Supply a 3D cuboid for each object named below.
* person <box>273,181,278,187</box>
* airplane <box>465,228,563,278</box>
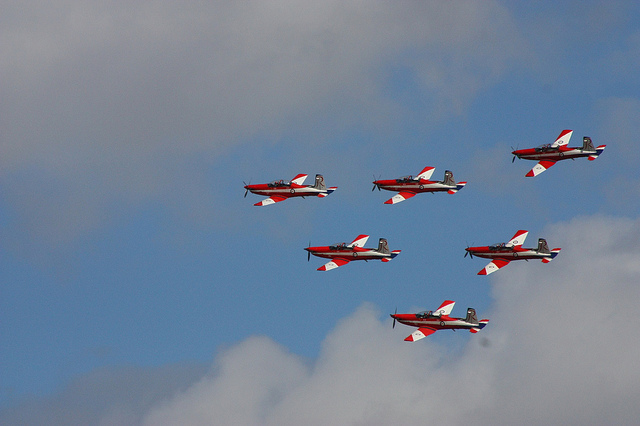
[{"bbox_3d":[-6.879,-3.916,195.318,0.911,0.974,0.410,1,-9,21],"label":"person"},{"bbox_3d":[24.624,5.503,163.225,7.363,2.438,7.151,2,26,32],"label":"airplane"}]
